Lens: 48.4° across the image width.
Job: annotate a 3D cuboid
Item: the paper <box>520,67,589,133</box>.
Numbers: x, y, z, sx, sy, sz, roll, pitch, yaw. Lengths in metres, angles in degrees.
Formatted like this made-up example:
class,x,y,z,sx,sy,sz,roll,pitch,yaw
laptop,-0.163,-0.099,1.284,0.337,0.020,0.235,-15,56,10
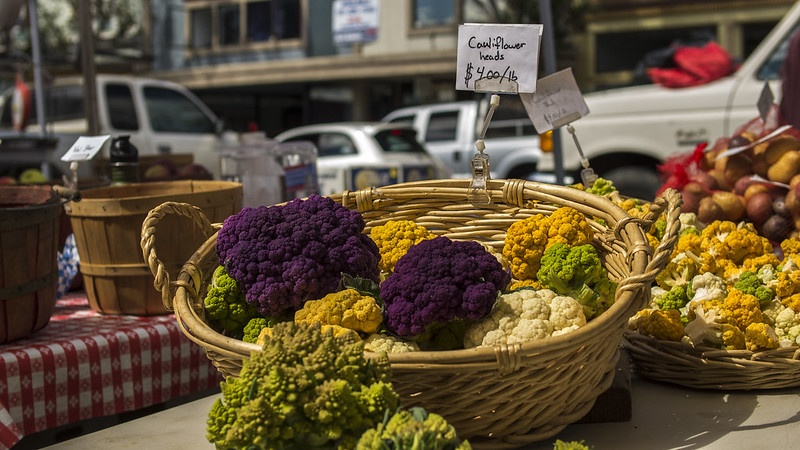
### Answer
class,x,y,z,sx,sy,sz,roll,pitch,yaw
paper,0.987,-0.743,5.769,0.514,0.538,0.119,-8,36,-11

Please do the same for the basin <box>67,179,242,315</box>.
class,x,y,z,sx,sy,sz,roll,pitch,yaw
basin,-1.601,0.143,5.806,0.953,0.636,0.874,-2,4,0

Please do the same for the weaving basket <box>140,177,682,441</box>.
class,x,y,z,sx,sy,sz,roll,pitch,yaw
weaving basket,0.057,0.468,5.405,3.092,1.353,1.531,-6,13,-13

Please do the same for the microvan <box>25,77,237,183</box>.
class,x,y,z,sx,sy,sz,roll,pitch,yaw
microvan,-2.013,-0.745,7.130,1.453,1.000,1.071,-10,14,-28

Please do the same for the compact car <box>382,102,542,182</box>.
class,x,y,z,sx,sy,sz,roll,pitch,yaw
compact car,0.982,-1.058,12.212,1.860,0.929,1.151,3,9,24
